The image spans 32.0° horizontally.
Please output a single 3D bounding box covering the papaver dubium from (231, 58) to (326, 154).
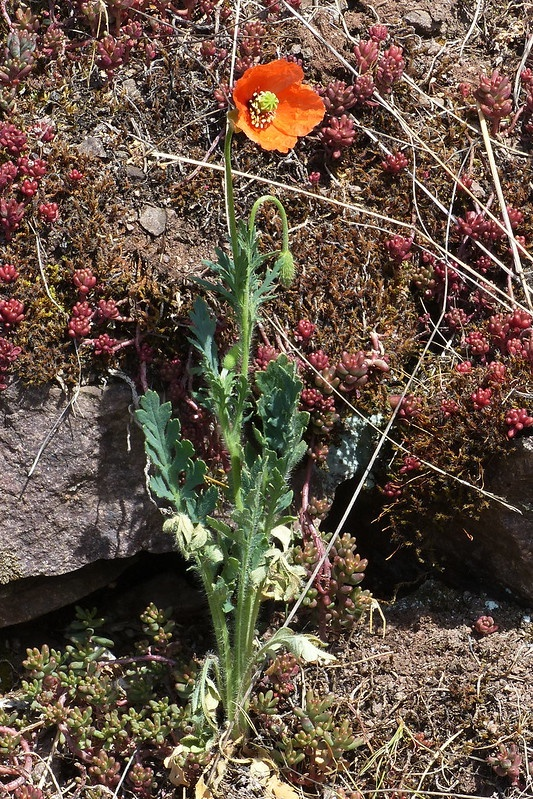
[{"bbox_3d":[0.000,-0.999,3.168,0.234,0.298,0.434,25,32,21],"label":"papaver dubium"}]
